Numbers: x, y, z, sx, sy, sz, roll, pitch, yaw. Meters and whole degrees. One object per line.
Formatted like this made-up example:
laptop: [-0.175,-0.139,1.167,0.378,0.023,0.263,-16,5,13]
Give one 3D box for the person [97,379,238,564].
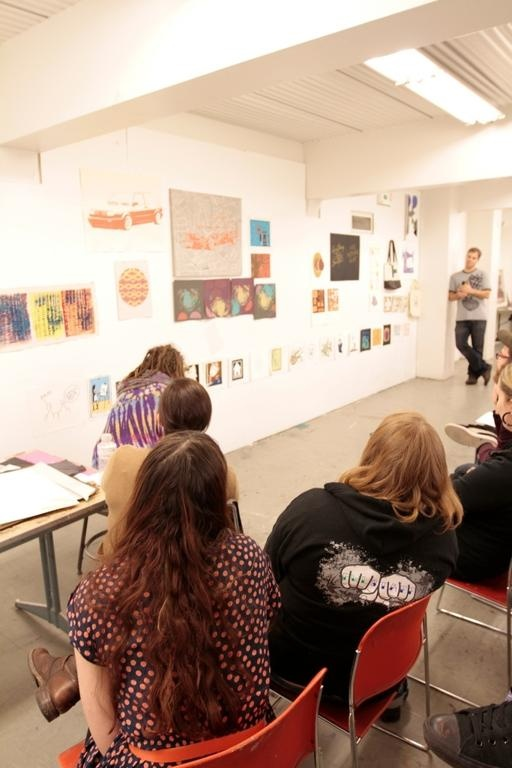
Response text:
person: [-0.286,0.369,2.088,0.440,0.837,0.443,-4,12,-6]
